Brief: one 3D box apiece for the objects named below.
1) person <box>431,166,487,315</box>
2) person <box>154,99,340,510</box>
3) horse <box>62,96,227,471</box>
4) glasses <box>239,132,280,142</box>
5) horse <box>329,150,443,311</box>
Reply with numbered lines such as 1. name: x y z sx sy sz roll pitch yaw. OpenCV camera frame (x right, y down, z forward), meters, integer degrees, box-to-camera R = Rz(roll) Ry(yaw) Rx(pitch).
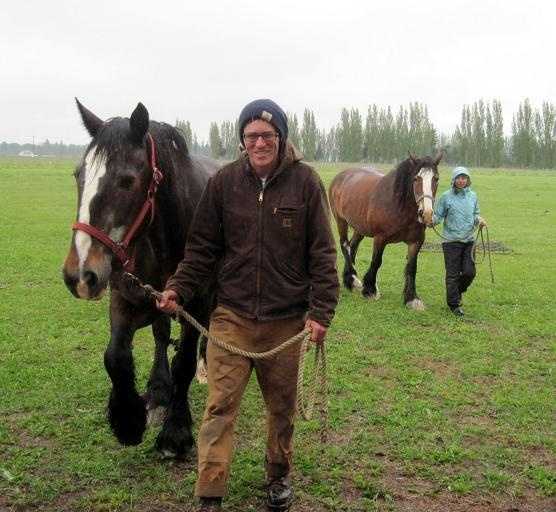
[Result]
1. person: 2.703 -0.276 8.000 0.701 2.119 1.005 3 8 23
2. person: -0.134 0.342 3.276 1.015 2.539 0.723 -2 7 -16
3. horse: -0.923 0.323 4.558 0.662 2.556 3.181 4 1 7
4. glasses: -0.099 -0.704 3.130 0.208 0.056 0.113 -1 10 -7
5. horse: 1.749 -0.517 9.459 0.758 2.648 3.267 -4 9 -19
